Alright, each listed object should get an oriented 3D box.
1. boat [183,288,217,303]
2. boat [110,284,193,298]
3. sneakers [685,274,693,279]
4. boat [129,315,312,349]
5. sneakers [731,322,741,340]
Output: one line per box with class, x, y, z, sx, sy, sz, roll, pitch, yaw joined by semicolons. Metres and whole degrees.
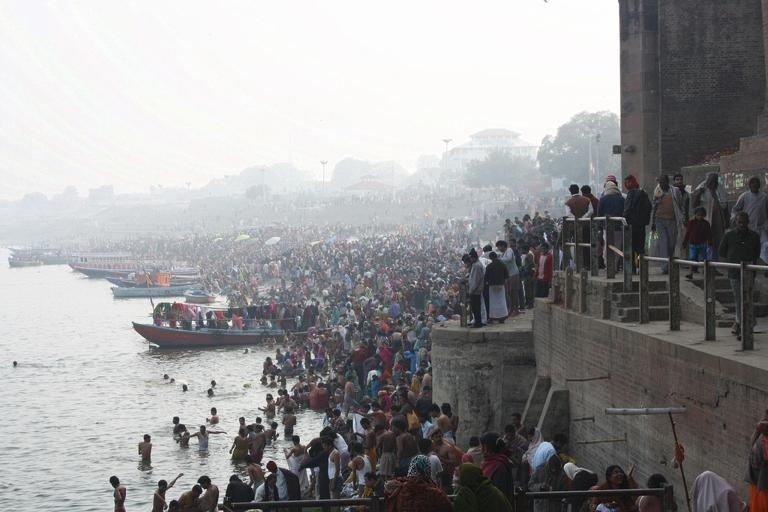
boat;-10.584;2.375;49.257;0.863;0.650;2.498;0;10;-32
boat;-14.436;2.242;54.734;3.954;0.806;1.019;0;-3;-5
sneakers;5.584;0.382;15.921;0.125;0.094;0.280;-3;3;17
boat;-6.664;3.120;33.720;6.211;1.252;2.097;2;-3;0
sneakers;5.580;1.199;13.776;0.115;0.270;0.243;-2;3;19
